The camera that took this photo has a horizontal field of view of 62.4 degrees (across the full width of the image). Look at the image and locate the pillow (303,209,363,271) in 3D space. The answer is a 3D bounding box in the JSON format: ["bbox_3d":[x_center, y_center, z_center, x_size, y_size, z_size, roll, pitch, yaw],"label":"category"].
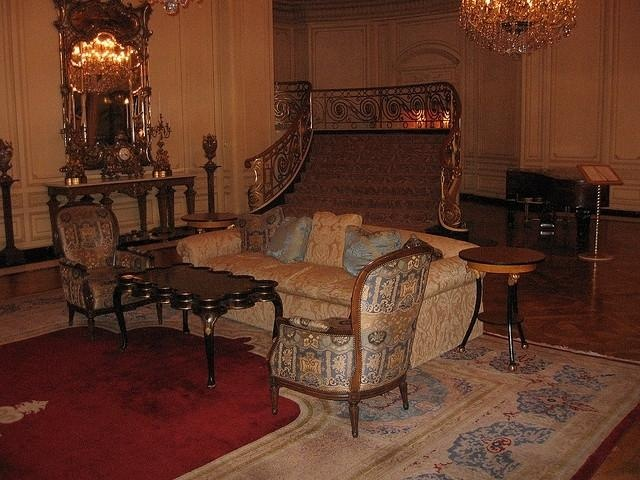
[{"bbox_3d":[0.140,0.067,5.203,0.202,0.638,0.681,14,14,-28],"label":"pillow"}]

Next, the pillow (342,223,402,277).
[{"bbox_3d":[0.395,0.087,4.221,0.430,0.320,0.232,16,-2,43],"label":"pillow"}]

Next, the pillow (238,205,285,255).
[{"bbox_3d":[-0.657,-0.104,5.608,0.525,0.460,0.154,2,-5,15],"label":"pillow"}]

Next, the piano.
[{"bbox_3d":[3.816,-0.693,8.449,1.449,1.160,1.808,-11,18,-39],"label":"piano"}]

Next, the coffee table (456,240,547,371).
[{"bbox_3d":[1.485,0.540,4.415,0.701,0.768,0.664,6,7,37],"label":"coffee table"}]

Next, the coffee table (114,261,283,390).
[{"bbox_3d":[-0.974,0.850,4.341,1.383,0.656,0.926,8,13,37],"label":"coffee table"}]

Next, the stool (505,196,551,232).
[{"bbox_3d":[4.095,-0.520,10.189,0.821,0.725,1.146,-4,5,-35],"label":"stool"}]

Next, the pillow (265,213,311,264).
[{"bbox_3d":[-0.225,-0.054,5.519,0.371,0.460,0.647,-11,17,-2],"label":"pillow"}]
